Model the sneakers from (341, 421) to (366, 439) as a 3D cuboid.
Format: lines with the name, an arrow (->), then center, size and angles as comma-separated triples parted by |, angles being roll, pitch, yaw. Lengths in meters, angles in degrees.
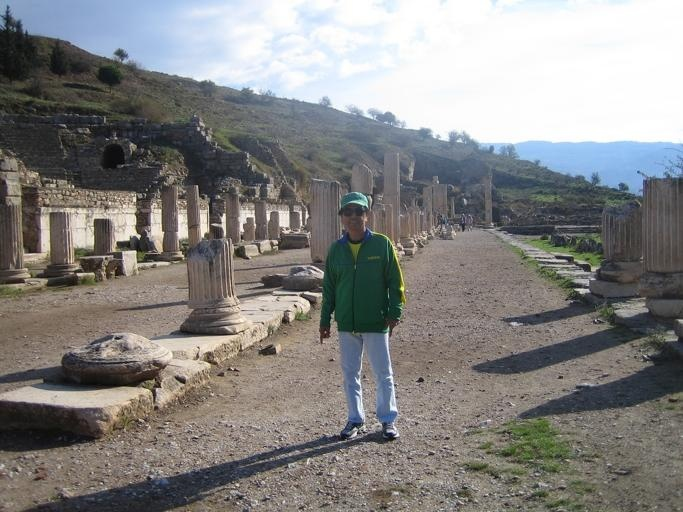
sneakers -> 0.114, 1.544, 5.154 | 0.098, 0.097, 0.242 | -3, -7, 31

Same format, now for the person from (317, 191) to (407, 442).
person -> 0.196, 0.502, 5.282 | 0.788, 2.115, 0.794 | -1, 8, 1

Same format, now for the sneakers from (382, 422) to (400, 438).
sneakers -> 0.440, 1.522, 5.138 | 0.153, 0.124, 0.222 | -1, 8, 3
